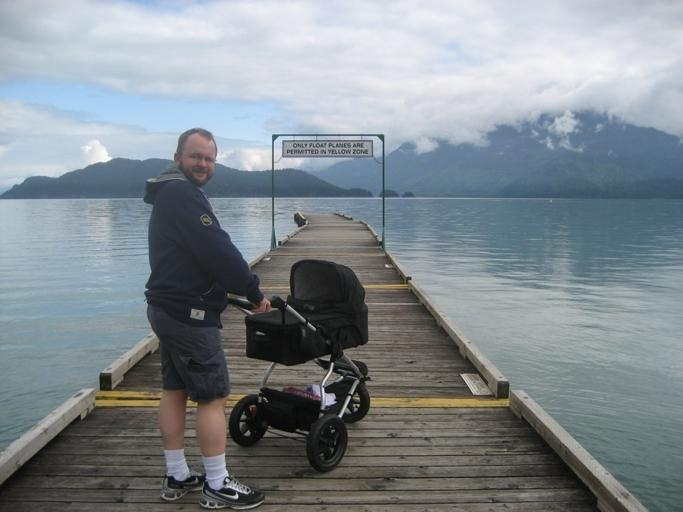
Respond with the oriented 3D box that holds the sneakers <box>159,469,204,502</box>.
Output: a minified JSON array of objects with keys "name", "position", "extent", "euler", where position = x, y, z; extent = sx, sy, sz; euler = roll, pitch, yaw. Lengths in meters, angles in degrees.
[{"name":"sneakers","position":[-1.249,1.829,4.408],"extent":[0.441,0.159,0.155],"euler":[0,-5,-40]}]

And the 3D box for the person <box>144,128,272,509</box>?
[{"name":"person","position":[-1.085,0.483,4.297],"extent":[0.806,2.864,1.112],"euler":[-5,16,-18]}]

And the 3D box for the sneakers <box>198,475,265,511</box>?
[{"name":"sneakers","position":[-0.845,1.837,4.280],"extent":[0.575,0.212,0.201],"euler":[2,-14,-2]}]
